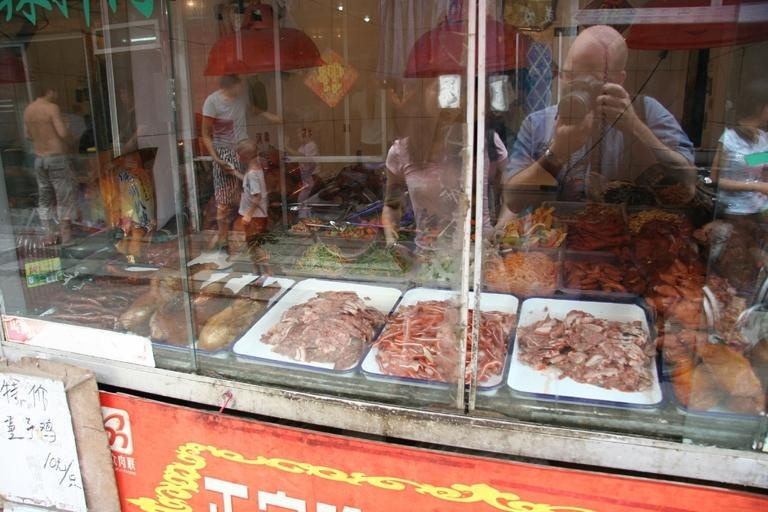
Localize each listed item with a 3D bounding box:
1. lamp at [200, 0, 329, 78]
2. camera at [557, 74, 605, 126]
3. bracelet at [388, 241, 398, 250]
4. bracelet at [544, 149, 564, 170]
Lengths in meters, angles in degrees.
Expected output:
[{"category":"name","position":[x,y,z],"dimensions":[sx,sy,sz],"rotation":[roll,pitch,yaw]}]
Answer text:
[{"category":"lamp","position":[-0.549,-1.050,2.627],"dimensions":[0.473,0.324,0.125],"rotation":[-8,17,-24]},{"category":"camera","position":[1.016,-0.810,2.832],"dimensions":[0.196,0.241,0.299],"rotation":[6,17,22]},{"category":"bracelet","position":[0.042,-0.046,2.419],"dimensions":[0.033,0.029,0.032],"rotation":[2,8,3]},{"category":"bracelet","position":[0.906,-0.515,2.908],"dimensions":[0.082,0.115,0.034],"rotation":[-38,28,26]}]
